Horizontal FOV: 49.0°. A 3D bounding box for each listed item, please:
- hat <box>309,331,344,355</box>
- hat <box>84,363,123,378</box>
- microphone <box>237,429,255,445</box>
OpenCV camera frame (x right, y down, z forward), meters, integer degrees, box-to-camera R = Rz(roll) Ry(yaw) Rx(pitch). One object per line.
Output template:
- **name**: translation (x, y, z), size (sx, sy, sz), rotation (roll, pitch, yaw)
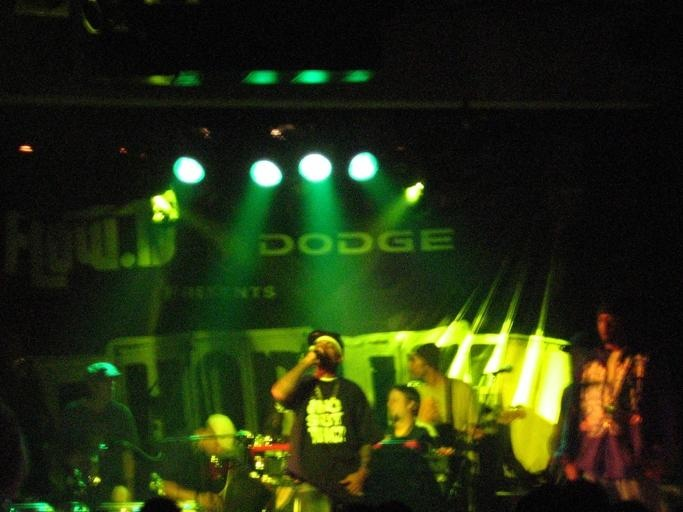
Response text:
- **hat**: translation (-0.124, 0.674, 5.831), size (0.218, 0.097, 0.161), rotation (7, -8, 10)
- **hat**: translation (-1.823, 0.867, 5.719), size (0.177, 0.088, 0.125), rotation (0, -4, -8)
- **microphone**: translation (-0.734, 1.379, 5.717), size (0.133, 0.082, 0.079), rotation (-3, 3, -37)
